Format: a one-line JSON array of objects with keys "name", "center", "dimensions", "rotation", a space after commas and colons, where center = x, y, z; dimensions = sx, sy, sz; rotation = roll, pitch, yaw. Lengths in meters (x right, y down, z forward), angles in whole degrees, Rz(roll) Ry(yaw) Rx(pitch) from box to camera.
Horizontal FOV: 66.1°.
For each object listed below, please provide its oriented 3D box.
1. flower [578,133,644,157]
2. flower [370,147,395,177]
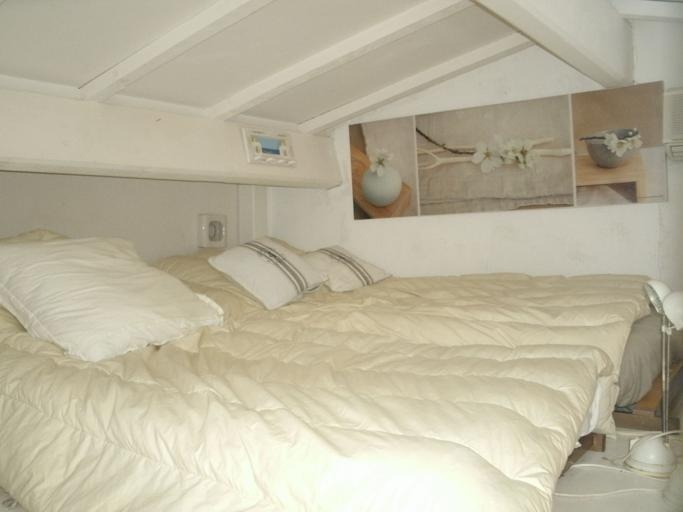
[{"name": "flower", "center": [1.829, -0.727, 3.488], "dimensions": [0.219, 0.095, 0.146], "rotation": [-8, 13, 13]}, {"name": "flower", "center": [0.319, -0.735, 4.127], "dimensions": [0.196, 0.190, 0.096], "rotation": [12, 7, 21]}]
